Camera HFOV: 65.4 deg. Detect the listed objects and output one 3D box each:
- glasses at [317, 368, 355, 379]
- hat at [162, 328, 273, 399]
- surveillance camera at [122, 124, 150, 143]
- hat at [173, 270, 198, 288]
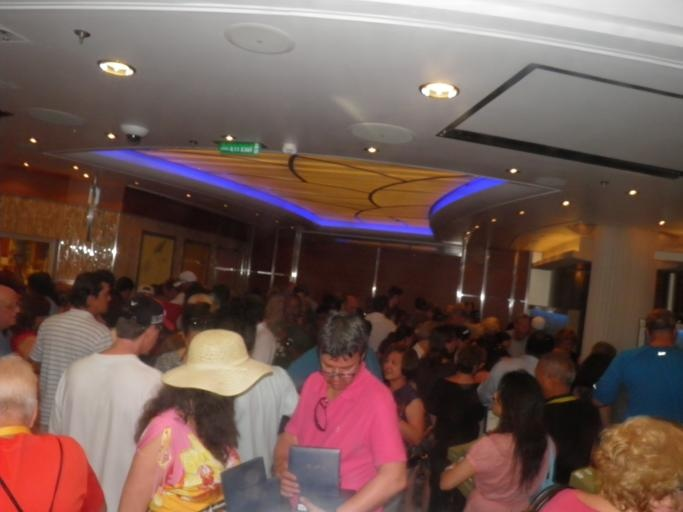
[{"bbox_3d":[-0.018,0.648,2.925,0.184,0.064,0.071,7,-5,5],"label":"glasses"},{"bbox_3d":[-0.643,0.559,2.714,0.365,0.150,0.357,4,5,4],"label":"hat"},{"bbox_3d":[-2.437,-1.464,6.279,0.211,0.106,0.213,6,-13,-27],"label":"surveillance camera"},{"bbox_3d":[-2.736,0.396,9.200,0.309,0.179,0.234,-2,-8,4],"label":"hat"}]
